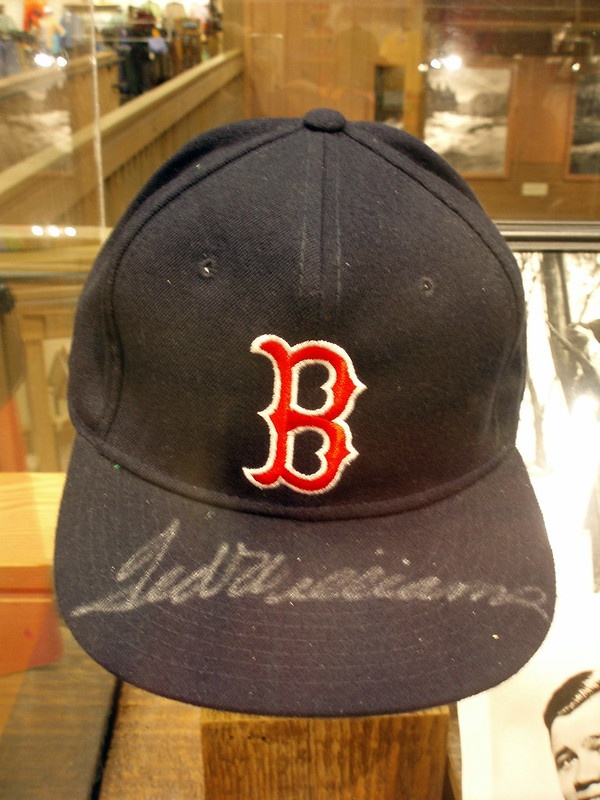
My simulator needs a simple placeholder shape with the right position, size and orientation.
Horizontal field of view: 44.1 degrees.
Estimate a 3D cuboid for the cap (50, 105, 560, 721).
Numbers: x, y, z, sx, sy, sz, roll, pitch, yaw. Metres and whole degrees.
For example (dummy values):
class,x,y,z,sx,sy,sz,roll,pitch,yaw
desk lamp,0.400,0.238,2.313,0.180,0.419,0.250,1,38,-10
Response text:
class,x,y,z,sx,sy,sz,roll,pitch,yaw
cap,-0.001,0.017,0.858,0.521,0.288,0.628,2,50,-3
